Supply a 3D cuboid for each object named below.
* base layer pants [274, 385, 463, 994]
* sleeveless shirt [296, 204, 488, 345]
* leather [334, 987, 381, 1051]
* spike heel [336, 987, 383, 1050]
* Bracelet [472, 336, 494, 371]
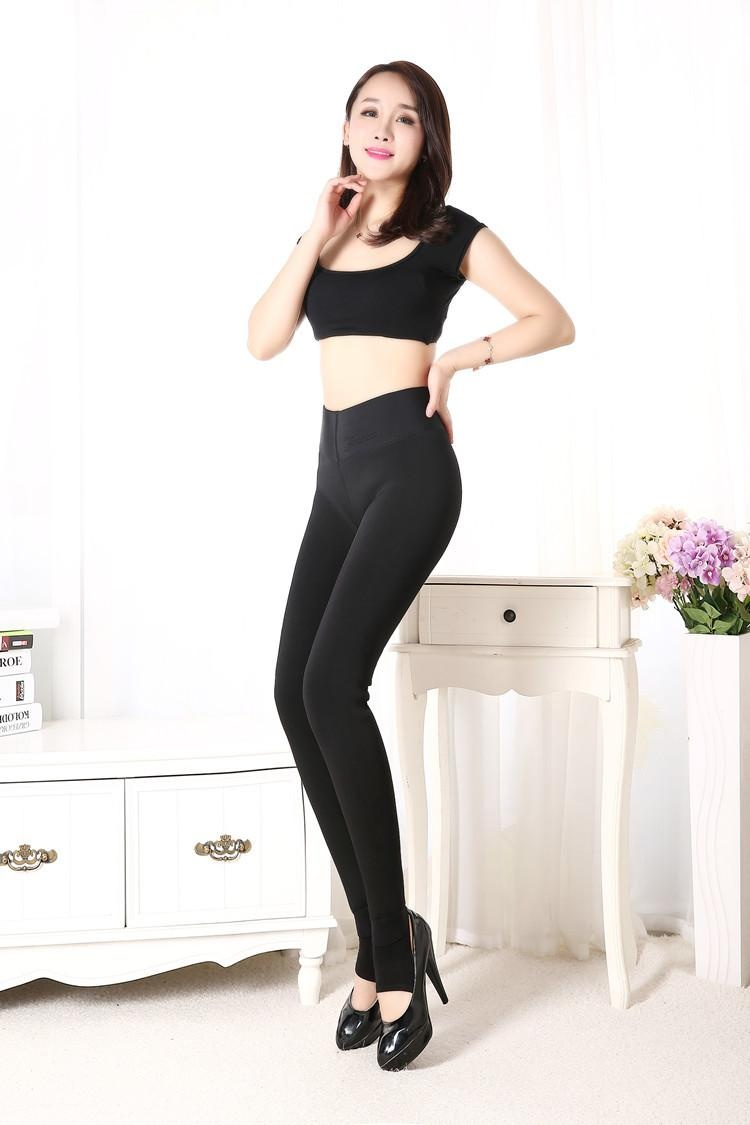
[{"bbox_3d":[-0.038,0.190,1.458,0.312,0.919,0.201,-5,-6,40],"label":"base layer pants"},{"bbox_3d":[-0.017,-0.456,1.515,0.282,0.234,0.160,-4,0,0],"label":"sleeveless shirt"},{"bbox_3d":[-0.025,0.742,1.541,0.044,0.048,0.118,-2,-2,7],"label":"leather"},{"bbox_3d":[-0.031,0.744,1.545,0.044,0.049,0.119,-2,-3,7],"label":"spike heel"},{"bbox_3d":[0.171,-0.325,1.462,0.015,0.046,0.041,3,44,-22],"label":"Bracelet"}]
